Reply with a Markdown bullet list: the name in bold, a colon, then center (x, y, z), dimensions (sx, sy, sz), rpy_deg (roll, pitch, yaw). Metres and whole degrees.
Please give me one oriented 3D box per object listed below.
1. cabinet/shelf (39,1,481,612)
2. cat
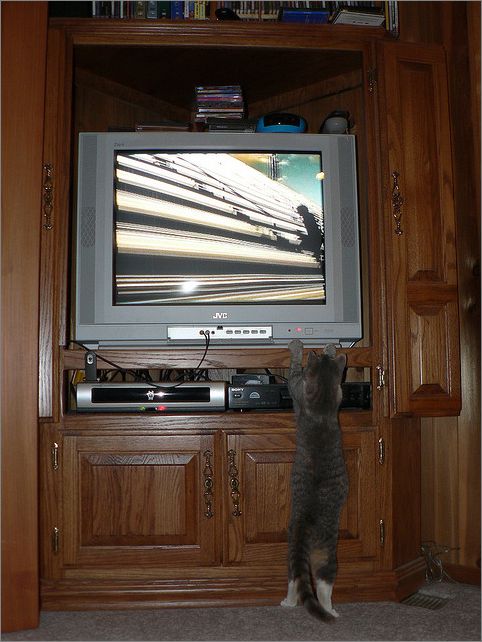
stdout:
- **cabinet/shelf**: center (0.056, -0.097, 2.344), dimensions (1.527, 2.102, 0.704), rpy_deg (0, 3, -5)
- **cat**: center (0.238, 0.514, 1.888), dimensions (0.195, 0.865, 0.483), rpy_deg (0, 3, 6)
